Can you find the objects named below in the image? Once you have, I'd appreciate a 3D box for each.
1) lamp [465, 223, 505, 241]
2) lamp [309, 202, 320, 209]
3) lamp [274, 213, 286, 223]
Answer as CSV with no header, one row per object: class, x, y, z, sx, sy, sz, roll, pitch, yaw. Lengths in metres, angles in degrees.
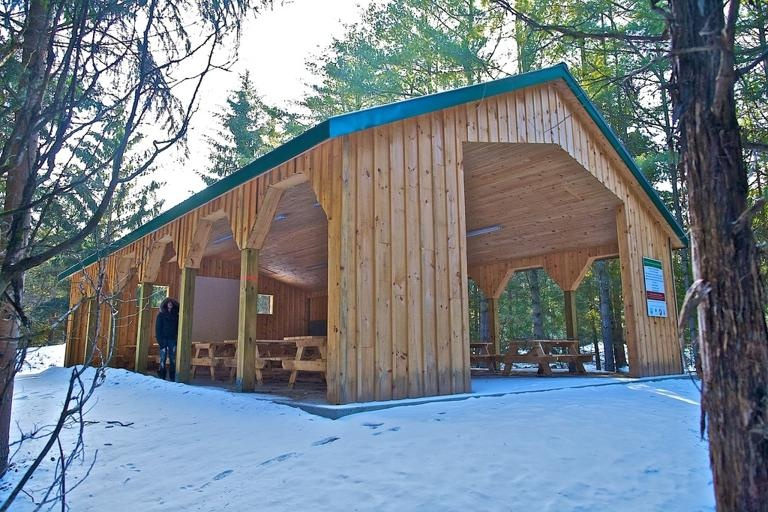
lamp,2.350,-0.574,13.228,0.204,0.336,1.449,-21,6,-37
lamp,-1.332,-1.009,10.964,0.107,0.097,0.152,-15,-15,42
lamp,-2.162,-0.816,11.671,0.251,0.141,0.672,-2,2,-11
